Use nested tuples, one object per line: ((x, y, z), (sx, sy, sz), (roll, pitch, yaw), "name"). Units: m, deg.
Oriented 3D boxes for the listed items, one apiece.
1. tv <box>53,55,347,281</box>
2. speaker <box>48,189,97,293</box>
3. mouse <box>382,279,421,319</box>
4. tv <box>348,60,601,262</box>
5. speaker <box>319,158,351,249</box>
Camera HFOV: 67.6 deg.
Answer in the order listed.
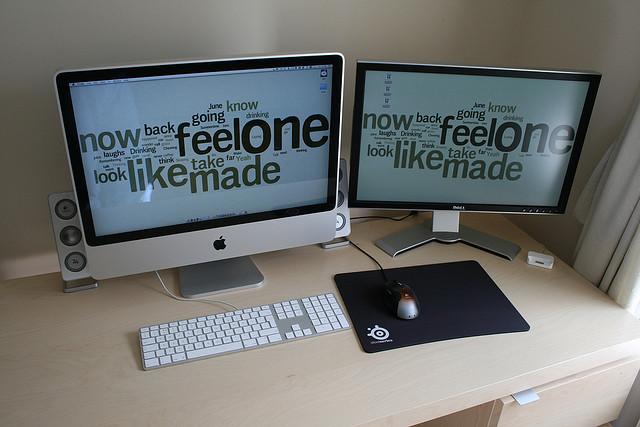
((-0.386, -0.159, 1.454), (0.742, 0.557, 0.074), (-6, 23, -16), "tv")
((-0.795, 0.095, 1.575), (0.120, 0.315, 0.108), (-8, 5, -10), "speaker")
((0.257, 0.257, 1.540), (0.100, 0.063, 0.173), (-9, 26, -13), "mouse")
((0.540, -0.197, 1.679), (0.748, 0.619, 0.243), (2, 32, -2), "tv")
((0.041, -0.041, 1.746), (0.133, 0.314, 0.106), (-5, 5, -29), "speaker")
